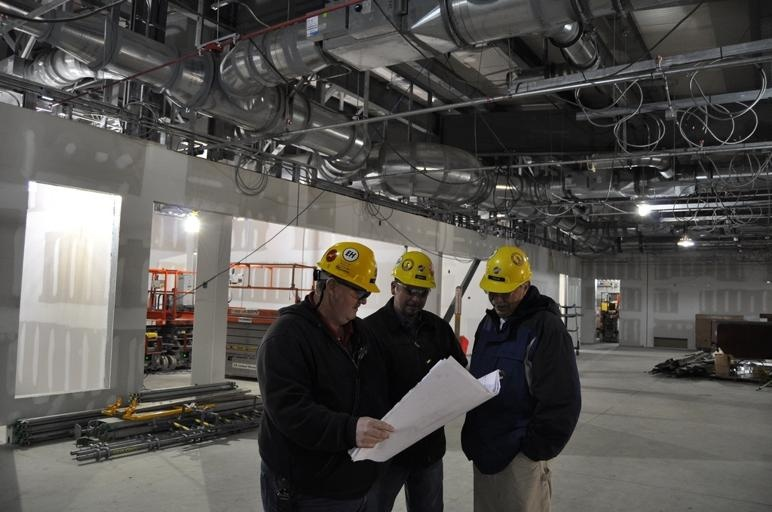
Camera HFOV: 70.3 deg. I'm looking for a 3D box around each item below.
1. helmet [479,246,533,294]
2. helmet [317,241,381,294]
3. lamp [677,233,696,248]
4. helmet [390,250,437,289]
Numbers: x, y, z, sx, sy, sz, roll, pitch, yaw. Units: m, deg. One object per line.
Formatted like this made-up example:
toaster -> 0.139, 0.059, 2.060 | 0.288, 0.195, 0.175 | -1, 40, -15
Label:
helmet -> 1.055, 0.103, 4.623 | 0.315, 0.255, 0.424 | 5, 13, 38
helmet -> -0.255, 0.084, 4.106 | 0.407, 0.266, 0.355 | 13, -4, 15
lamp -> 10.267, -0.528, 18.698 | 0.525, 0.539, 0.541 | 3, 4, 38
helmet -> 0.232, 0.116, 4.802 | 0.268, 0.204, 0.351 | 17, -4, -12
